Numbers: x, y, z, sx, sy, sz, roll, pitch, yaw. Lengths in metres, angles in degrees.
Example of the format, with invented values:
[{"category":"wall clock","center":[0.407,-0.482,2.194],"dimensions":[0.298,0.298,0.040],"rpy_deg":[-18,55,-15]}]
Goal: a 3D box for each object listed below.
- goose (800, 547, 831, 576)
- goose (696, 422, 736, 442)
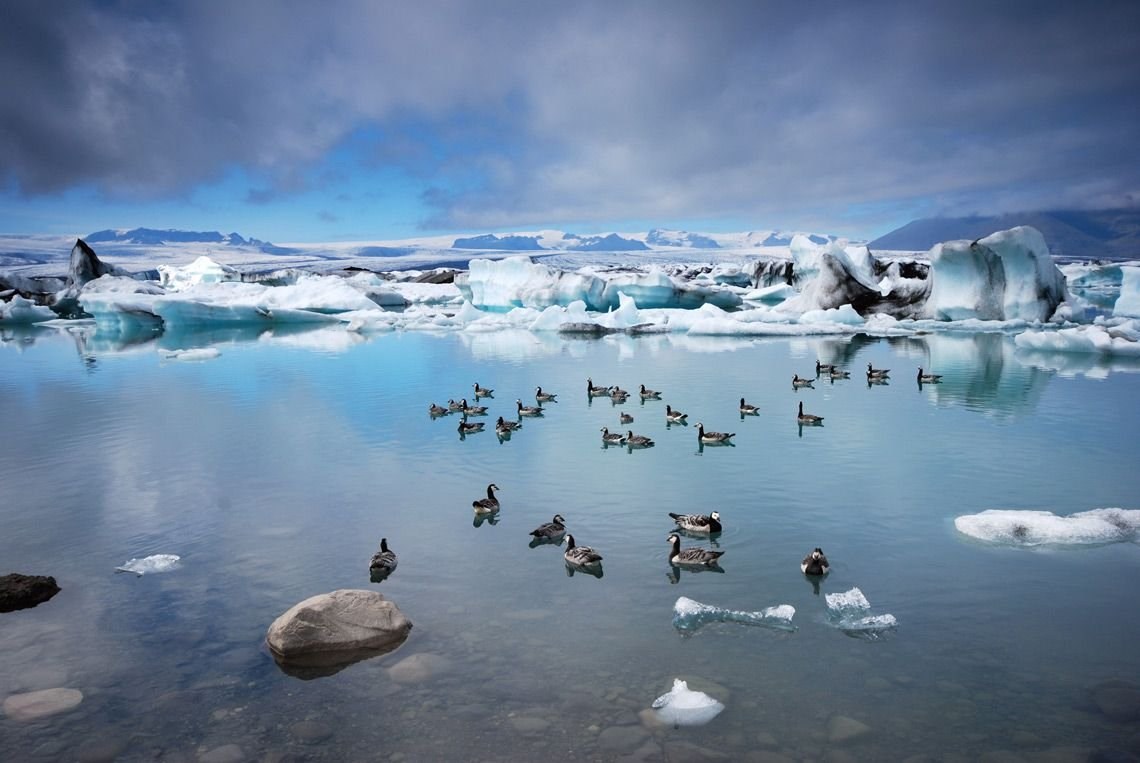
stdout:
[{"category":"goose","center":[5.012,3.704,14.989],"dimensions":[0.493,0.373,0.624],"rpy_deg":[1,-3,11]},{"category":"goose","center":[4.761,1.737,23.965],"dimensions":[1.138,0.521,0.970],"rpy_deg":[2,13,11]}]
